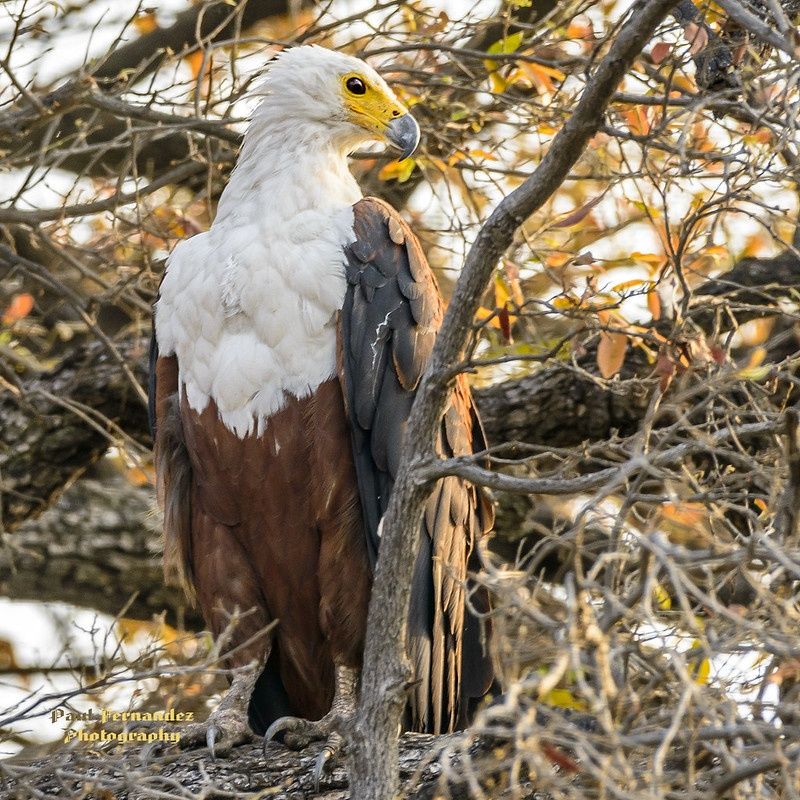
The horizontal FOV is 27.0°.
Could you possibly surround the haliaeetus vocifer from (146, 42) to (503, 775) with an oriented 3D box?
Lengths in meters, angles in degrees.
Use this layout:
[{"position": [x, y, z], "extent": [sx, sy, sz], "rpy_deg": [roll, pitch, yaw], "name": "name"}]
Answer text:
[{"position": [-0.232, -0.027, 5.288], "extent": [1.139, 2.404, 0.837], "rpy_deg": [7, -15, -8], "name": "haliaeetus vocifer"}]
